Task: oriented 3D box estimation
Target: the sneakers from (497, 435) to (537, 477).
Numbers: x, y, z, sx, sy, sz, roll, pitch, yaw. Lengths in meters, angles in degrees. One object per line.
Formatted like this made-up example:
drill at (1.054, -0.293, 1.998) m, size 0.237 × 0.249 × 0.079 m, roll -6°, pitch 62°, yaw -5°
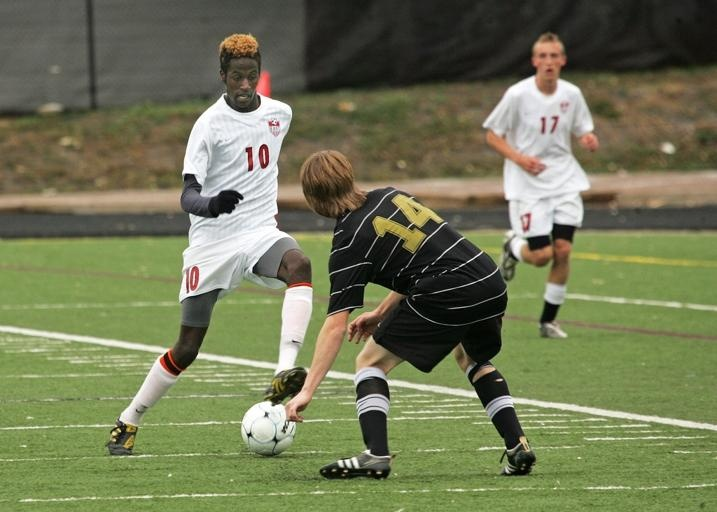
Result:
sneakers at (1.029, 1.342, 8.328) m, size 0.192 × 0.195 × 0.474 m, roll -7°, pitch -26°, yaw -14°

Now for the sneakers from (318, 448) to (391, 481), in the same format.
sneakers at (0.016, 1.341, 8.191) m, size 0.559 × 0.149 × 0.201 m, roll 3°, pitch 41°, yaw 4°

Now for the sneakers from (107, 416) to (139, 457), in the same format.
sneakers at (-1.572, 1.233, 8.661) m, size 0.195 × 0.225 × 0.204 m, roll 13°, pitch -5°, yaw -13°

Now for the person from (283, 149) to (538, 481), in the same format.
person at (0.293, 0.367, 8.230) m, size 1.506 × 2.035 × 0.682 m, roll 0°, pitch 13°, yaw -2°

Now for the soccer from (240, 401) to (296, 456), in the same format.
soccer at (-0.599, 1.126, 8.573) m, size 0.389 × 0.336 × 0.406 m, roll 1°, pitch 1°, yaw 40°

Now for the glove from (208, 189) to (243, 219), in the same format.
glove at (-0.866, -0.352, 8.451) m, size 0.227 × 0.069 × 0.164 m, roll -24°, pitch -31°, yaw 26°
